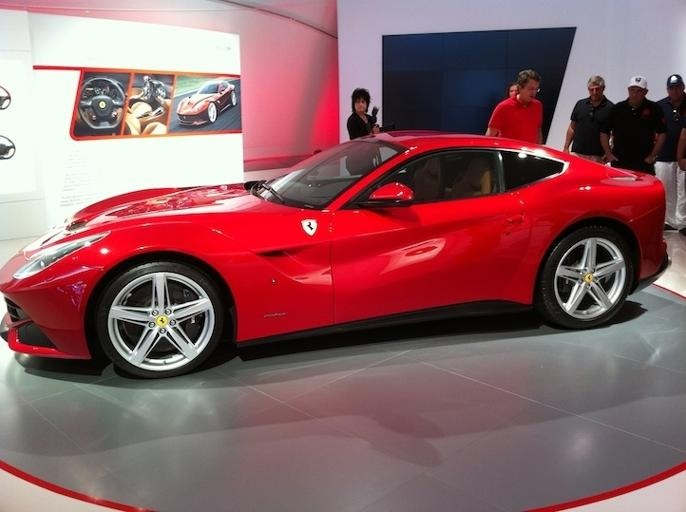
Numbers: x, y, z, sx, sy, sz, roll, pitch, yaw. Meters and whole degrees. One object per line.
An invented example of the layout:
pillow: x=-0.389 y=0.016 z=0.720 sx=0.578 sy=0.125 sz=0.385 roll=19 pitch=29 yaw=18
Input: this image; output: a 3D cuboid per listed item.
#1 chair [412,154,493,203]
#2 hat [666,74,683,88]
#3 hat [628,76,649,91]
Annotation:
chair: x=0.884 y=-0.636 z=3.404 sx=0.578 sy=0.369 sz=0.607 roll=0 pitch=3 yaw=-30
hat: x=5.049 y=-2.663 z=6.480 sx=0.191 sy=0.189 sz=0.285 roll=7 pitch=20 yaw=18
hat: x=4.093 y=-2.402 z=5.900 sx=0.188 sy=0.182 sz=0.301 roll=14 pitch=23 yaw=34
